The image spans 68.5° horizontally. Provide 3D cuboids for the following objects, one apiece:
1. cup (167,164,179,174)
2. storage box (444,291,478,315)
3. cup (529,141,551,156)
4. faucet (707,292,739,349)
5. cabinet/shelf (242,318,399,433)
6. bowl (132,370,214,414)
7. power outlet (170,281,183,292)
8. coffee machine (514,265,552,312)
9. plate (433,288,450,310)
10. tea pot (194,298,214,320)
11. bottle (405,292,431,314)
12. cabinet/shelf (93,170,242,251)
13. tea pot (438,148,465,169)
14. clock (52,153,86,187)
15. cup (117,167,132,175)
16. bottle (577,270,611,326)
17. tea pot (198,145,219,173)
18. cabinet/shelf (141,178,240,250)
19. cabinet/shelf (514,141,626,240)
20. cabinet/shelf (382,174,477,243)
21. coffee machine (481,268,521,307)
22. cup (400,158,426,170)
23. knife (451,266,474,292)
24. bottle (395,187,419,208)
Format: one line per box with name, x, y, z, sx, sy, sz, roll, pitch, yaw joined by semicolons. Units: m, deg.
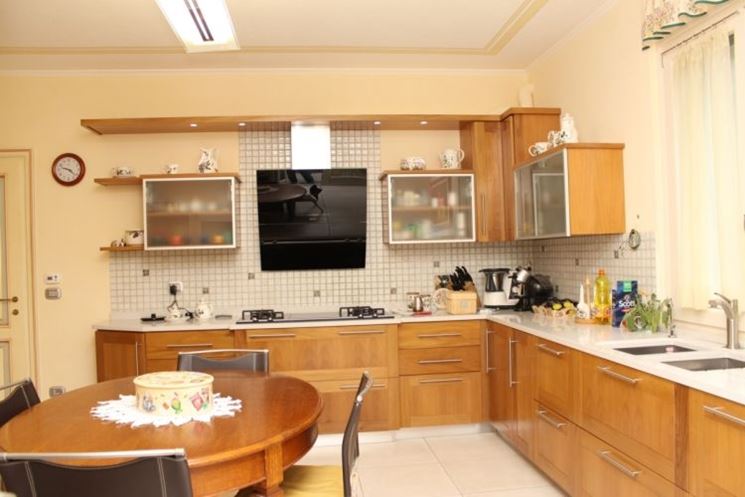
cup;-1.934;-0.760;5.281;0.109;0.102;0.126;1;17;-5
storage box;0.855;0.511;5.231;0.266;0.161;0.238;-1;1;-3
cup;1.506;-0.896;4.913;0.233;0.084;0.152;-3;-1;31
faucet;2.289;0.456;3.525;0.152;0.325;0.309;-3;-2;33
cabinet/shelf;-0.490;1.121;5.349;1.952;1.095;0.949;-1;-8;-5
bowl;-1.149;0.864;3.286;0.457;0.149;0.465;-1;-1;0
power outlet;-1.959;0.376;5.422;0.118;0.095;0.037;-1;-2;-19
coffee machine;1.500;0.392;5.304;0.402;0.353;0.255;-16;27;-23
plate;0.679;0.494;5.374;0.201;0.173;0.064;4;-2;43
tea pot;-1.627;0.580;5.236;0.158;0.183;0.215;-2;-2;-16
bottle;0.471;0.538;5.378;0.258;0.152;0.150;0;-1;-14
cabinet/shelf;-1.958;-0.354;5.408;1.547;0.704;0.425;-1;2;13
tea pot;0.798;-0.894;5.489;0.277;0.176;0.206;1;2;7
clock;-3.013;-0.774;5.388;0.376;0.311;0.047;3;3;12
cup;-2.418;-0.747;5.267;0.103;0.063;0.094;0;8;0
bottle;1.867;0.388;4.572;0.269;0.334;0.453;-3;-2;21
tea pot;-1.590;-0.845;5.261;0.276;0.251;0.252;1;12;0
cabinet/shelf;-1.691;-0.347;5.327;1.013;0.705;0.336;0;2;17
cabinet/shelf;1.993;-0.501;5.004;0.514;0.696;1.274;-2;1;18
cabinet/shelf;0.726;-0.401;5.537;1.007;0.723;0.550;2;7;35
coffee machine;1.248;0.400;5.446;0.462;0.359;0.293;2;-3;-35
cup;0.397;-0.830;5.374;0.223;0.148;0.121;-2;-2;1
knife;0.897;0.306;5.433;0.219;0.248;0.074;-8;7;-21
bottle;0.345;-0.483;5.309;0.238;0.171;0.022;-2;-2;-9
